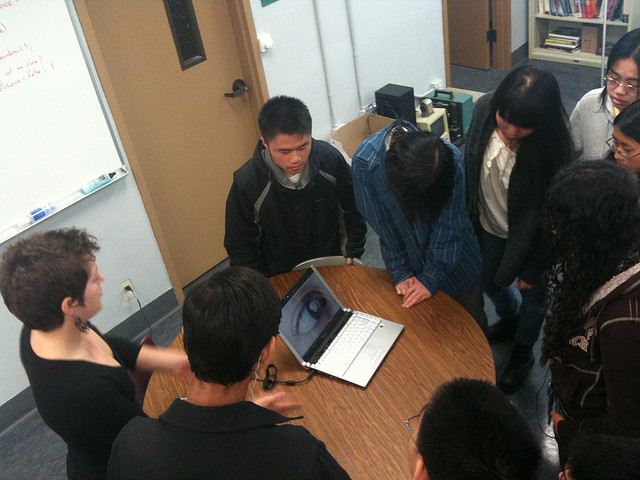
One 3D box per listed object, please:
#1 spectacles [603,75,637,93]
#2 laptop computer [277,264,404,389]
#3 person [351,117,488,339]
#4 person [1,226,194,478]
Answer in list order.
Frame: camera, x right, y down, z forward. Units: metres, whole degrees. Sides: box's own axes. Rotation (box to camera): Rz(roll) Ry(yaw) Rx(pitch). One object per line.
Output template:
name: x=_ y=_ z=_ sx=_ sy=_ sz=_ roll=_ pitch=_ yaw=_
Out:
spectacles: x=1.598 y=-0.827 z=2.477 sx=0.091 sy=0.100 sz=0.028 roll=27 pitch=36 yaw=33
laptop computer: x=0.065 y=0.412 z=2.115 sx=0.498 sy=0.338 sz=0.484 roll=14 pitch=50 yaw=36
person: x=0.530 y=0.044 z=2.322 sx=0.698 sy=1.203 sz=0.465 roll=-3 pitch=32 yaw=4
person: x=-1.020 y=0.487 z=2.039 sx=0.485 sy=1.291 sz=0.470 roll=-22 pitch=58 yaw=-22
